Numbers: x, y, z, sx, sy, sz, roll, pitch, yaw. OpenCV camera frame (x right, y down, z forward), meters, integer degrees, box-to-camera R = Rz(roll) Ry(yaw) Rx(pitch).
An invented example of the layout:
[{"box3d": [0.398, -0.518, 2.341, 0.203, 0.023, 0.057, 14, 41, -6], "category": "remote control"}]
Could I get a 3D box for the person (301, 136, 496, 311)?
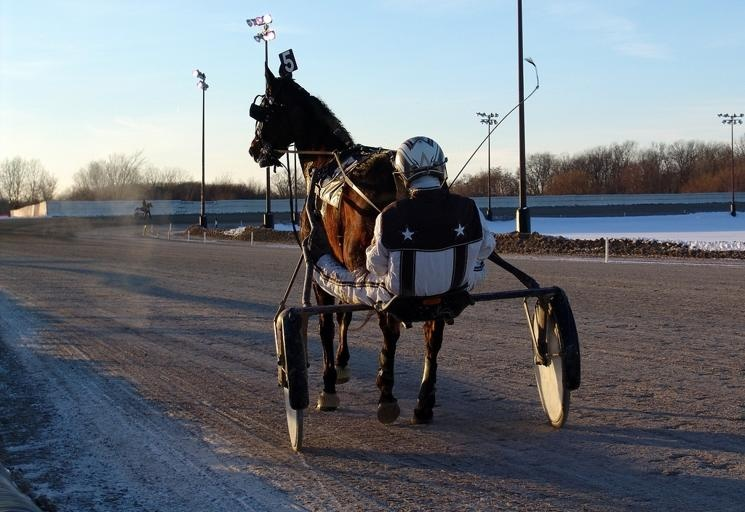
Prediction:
[{"box3d": [0.408, -0.190, 7.670, 1.069, 0.941, 1.680, -1, 8, -9], "category": "person"}]
